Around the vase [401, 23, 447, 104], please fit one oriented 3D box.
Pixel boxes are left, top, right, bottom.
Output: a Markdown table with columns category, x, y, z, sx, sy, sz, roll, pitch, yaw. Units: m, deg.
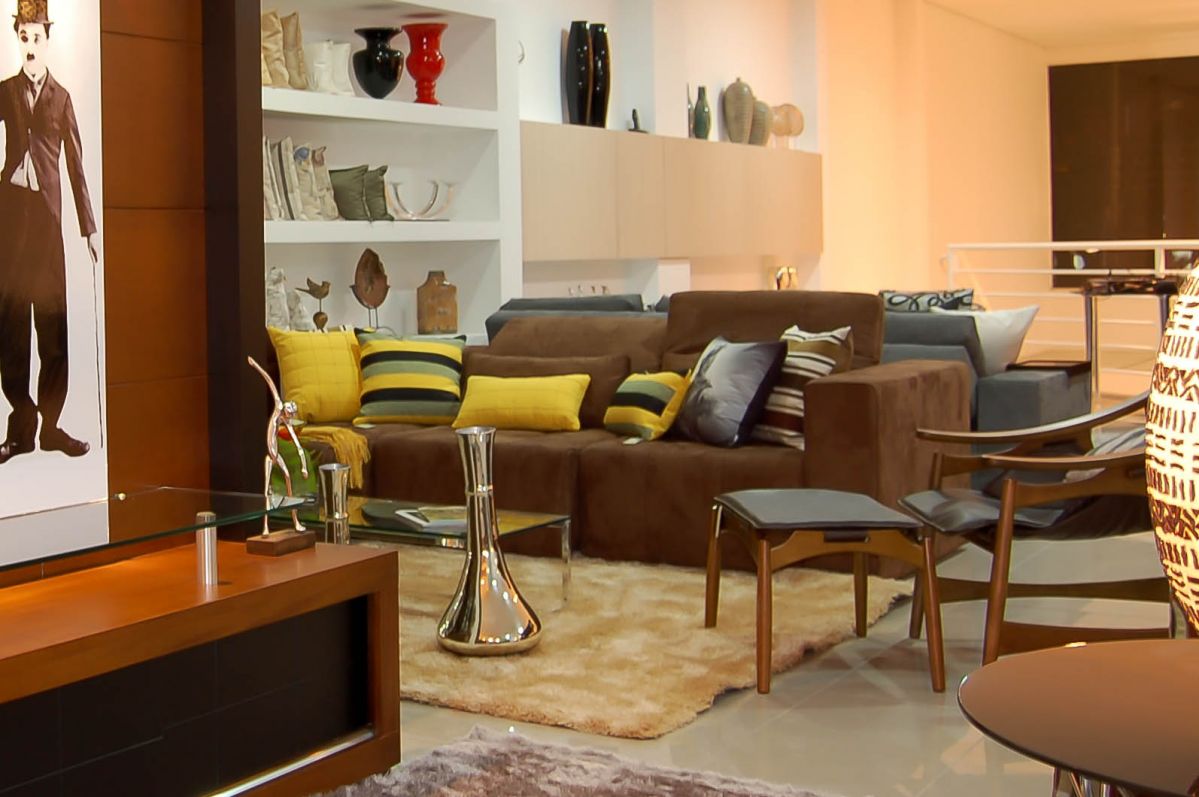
| category | x | y | z | sx | sy | sz | roll | pitch | yaw |
| --- | --- | --- | --- | --- | --- | --- | --- | --- | --- |
| vase | -1.085 | -2.113 | 5.964 | 0.272 | 0.548 | 0.335 | -6 | 11 | -33 |

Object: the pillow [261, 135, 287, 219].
| category | x | y | z | sx | sy | sz | roll | pitch | yaw |
| --- | --- | --- | --- | --- | --- | --- | --- | --- | --- |
| pillow | -1.749 | -1.176 | 5.099 | 0.111 | 0.423 | 0.188 | -3 | 10 | -17 |

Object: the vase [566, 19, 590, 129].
| category | x | y | z | sx | sy | sz | roll | pitch | yaw |
| --- | --- | --- | --- | --- | --- | --- | --- | --- | --- |
| vase | -0.200 | -2.423 | 7.061 | 0.153 | 0.755 | 0.282 | -9 | 13 | -43 |

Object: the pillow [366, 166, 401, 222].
| category | x | y | z | sx | sy | sz | roll | pitch | yaw |
| --- | --- | --- | --- | --- | --- | --- | --- | --- | --- |
| pillow | -1.310 | -1.223 | 5.665 | 0.113 | 0.307 | 0.286 | 2 | 10 | 10 |

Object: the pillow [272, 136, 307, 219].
| category | x | y | z | sx | sy | sz | roll | pitch | yaw |
| --- | --- | --- | --- | --- | --- | --- | --- | --- | --- |
| pillow | -1.701 | -1.191 | 5.165 | 0.056 | 0.443 | 0.383 | -5 | 13 | 13 |

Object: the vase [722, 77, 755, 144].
| category | x | y | z | sx | sy | sz | roll | pitch | yaw |
| --- | --- | --- | --- | --- | --- | --- | --- | --- | --- |
| vase | 1.280 | -2.650 | 8.723 | 0.315 | 0.582 | 0.280 | 0 | 9 | 1 |

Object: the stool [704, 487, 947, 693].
| category | x | y | z | sx | sy | sz | roll | pitch | yaw |
| --- | --- | --- | --- | --- | --- | --- | --- | --- | --- |
| stool | 0.822 | 0.642 | 3.168 | 0.812 | 0.496 | 0.790 | 0 | -2 | -43 |

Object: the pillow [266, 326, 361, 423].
| category | x | y | z | sx | sy | sz | roll | pitch | yaw |
| --- | --- | --- | --- | --- | --- | --- | --- | --- | --- |
| pillow | -1.369 | -0.101 | 4.504 | 0.372 | 0.485 | 0.182 | -9 | -9 | -22 |

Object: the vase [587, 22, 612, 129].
| category | x | y | z | sx | sy | sz | roll | pitch | yaw |
| --- | --- | --- | --- | --- | --- | --- | --- | --- | --- |
| vase | -0.012 | -2.403 | 7.025 | 0.166 | 0.752 | 0.134 | -5 | 10 | -24 |

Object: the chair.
| category | x | y | z | sx | sy | sz | roll | pitch | yaw |
| --- | --- | --- | --- | --- | --- | --- | --- | --- | --- |
| chair | 1.518 | 0.380 | 3.220 | 0.997 | 0.896 | 0.787 | 0 | -1 | -10 |

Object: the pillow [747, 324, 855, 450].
| category | x | y | z | sx | sy | sz | roll | pitch | yaw |
| --- | --- | --- | --- | --- | --- | --- | --- | --- | --- |
| pillow | 0.866 | -0.055 | 4.128 | 0.308 | 0.496 | 0.416 | 9 | 13 | 43 |

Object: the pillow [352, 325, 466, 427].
| category | x | y | z | sx | sy | sz | roll | pitch | yaw |
| --- | --- | --- | --- | --- | --- | --- | --- | --- | --- |
| pillow | -0.979 | -0.092 | 4.806 | 0.481 | 0.451 | 0.183 | -1 | -26 | -6 |

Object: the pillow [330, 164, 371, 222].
| category | x | y | z | sx | sy | sz | roll | pitch | yaw |
| --- | --- | --- | --- | --- | --- | --- | --- | --- | --- |
| pillow | -1.453 | -1.183 | 5.487 | 0.327 | 0.357 | 0.127 | -1 | 8 | 5 |

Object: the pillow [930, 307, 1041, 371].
| category | x | y | z | sx | sy | sz | roll | pitch | yaw |
| --- | --- | --- | --- | --- | --- | --- | --- | --- | --- |
| pillow | 1.998 | -0.338 | 4.829 | 0.399 | 0.398 | 0.121 | 9 | 28 | 32 |

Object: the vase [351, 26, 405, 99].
| category | x | y | z | sx | sy | sz | roll | pitch | yaw |
| --- | --- | --- | --- | --- | --- | --- | --- | --- | --- |
| vase | -1.348 | -2.019 | 5.726 | 0.277 | 0.414 | 0.266 | 7 | 22 | 10 |

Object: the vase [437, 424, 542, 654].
| category | x | y | z | sx | sy | sz | roll | pitch | yaw |
| --- | --- | --- | --- | --- | --- | --- | --- | --- | --- |
| vase | -0.387 | 0.474 | 3.193 | 0.356 | 0.759 | 0.256 | 7 | 12 | 37 |
